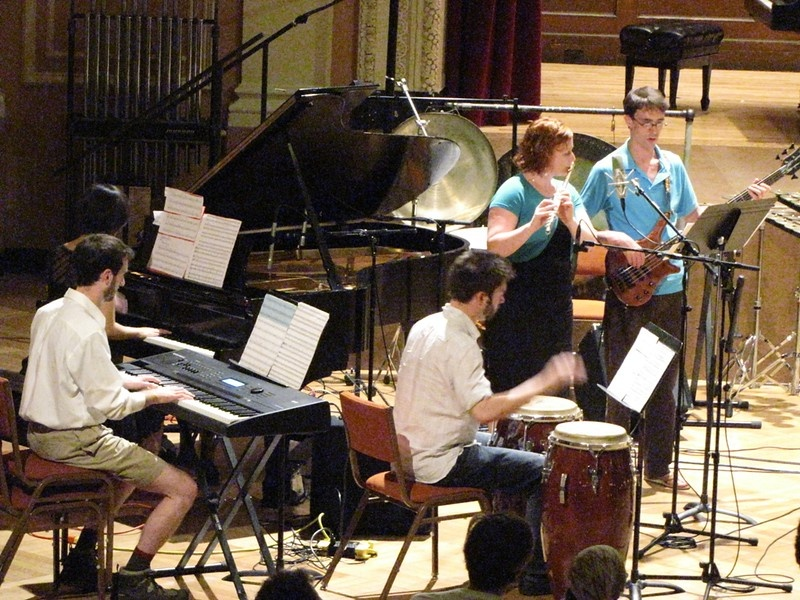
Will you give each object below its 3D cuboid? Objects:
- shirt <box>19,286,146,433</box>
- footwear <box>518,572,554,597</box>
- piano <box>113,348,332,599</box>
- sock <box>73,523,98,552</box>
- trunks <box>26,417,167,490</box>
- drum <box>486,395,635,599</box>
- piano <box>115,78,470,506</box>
[{"bbox_3d":[-1.453,0.244,4.322,0.543,0.592,0.724,-8,18,-43],"label":"shirt"},{"bbox_3d":[0.642,1.363,4.454,0.134,0.097,0.137,-2,-2,44],"label":"footwear"},{"bbox_3d":[-0.872,0.855,4.549,0.541,1.013,1.085,0,10,-32],"label":"piano"},{"bbox_3d":[-1.546,1.187,4.643,0.161,0.138,0.041,9,1,-29],"label":"sock"},{"bbox_3d":[-1.332,0.694,4.194,0.474,0.151,0.278,23,1,-15],"label":"trunks"},{"bbox_3d":[0.788,0.899,4.606,0.859,0.914,0.809,0,-2,28],"label":"drum"},{"bbox_3d":[-0.564,-0.605,6.448,2.081,2.052,1.619,-9,13,-35],"label":"piano"}]
